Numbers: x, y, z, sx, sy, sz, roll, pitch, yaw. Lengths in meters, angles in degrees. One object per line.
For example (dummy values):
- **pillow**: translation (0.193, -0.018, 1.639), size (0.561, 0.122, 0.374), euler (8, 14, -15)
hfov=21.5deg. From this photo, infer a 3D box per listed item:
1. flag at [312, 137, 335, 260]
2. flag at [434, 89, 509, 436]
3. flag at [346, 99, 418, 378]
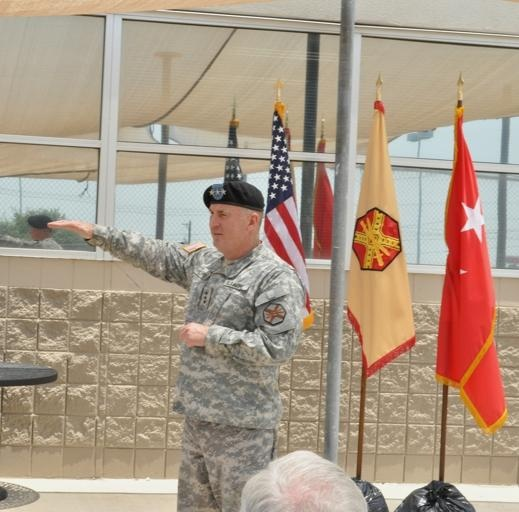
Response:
- **flag**: translation (0.452, -0.316, 9.647), size (0.134, 0.668, 0.111), euler (2, -8, 1)
- **flag**: translation (1.339, 0.019, 8.517), size (0.430, 2.127, 0.250), euler (1, -8, 7)
- **flag**: translation (0.792, -0.117, 8.714), size (0.428, 1.757, 0.178), euler (1, -8, 4)
